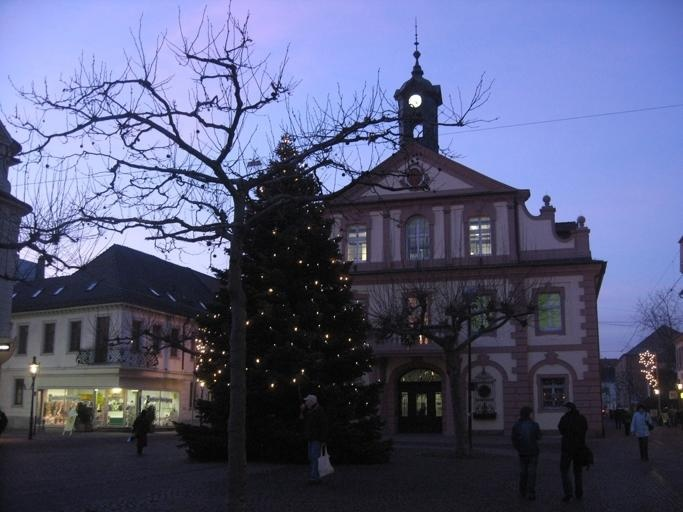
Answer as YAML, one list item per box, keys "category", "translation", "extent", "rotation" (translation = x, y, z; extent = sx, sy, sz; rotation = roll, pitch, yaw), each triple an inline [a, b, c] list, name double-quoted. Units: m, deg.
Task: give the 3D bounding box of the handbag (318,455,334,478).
- category: "handbag"
  translation: [-0.381, 4.875, 16.348]
  extent: [0.313, 0.468, 0.323]
  rotation: [0, -12, -1]

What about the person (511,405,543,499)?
- category: "person"
  translation: [4.114, 4.335, 15.500]
  extent: [0.602, 1.934, 0.808]
  rotation: [-5, -12, 19]

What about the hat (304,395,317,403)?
- category: "hat"
  translation: [-0.748, 3.499, 17.220]
  extent: [0.239, 0.138, 0.184]
  rotation: [19, -13, 5]

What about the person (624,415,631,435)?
- category: "person"
  translation: [16.457, 9.711, 40.253]
  extent: [0.309, 0.995, 1.662]
  rotation: [-5, -13, 21]

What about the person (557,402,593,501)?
- category: "person"
  translation: [5.026, 4.228, 15.250]
  extent: [0.781, 2.036, 0.783]
  rotation: [1, -12, -7]

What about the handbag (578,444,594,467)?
- category: "handbag"
  translation: [5.406, 4.411, 15.450]
  extent: [0.240, 0.511, 0.997]
  rotation: [-5, -13, 20]
